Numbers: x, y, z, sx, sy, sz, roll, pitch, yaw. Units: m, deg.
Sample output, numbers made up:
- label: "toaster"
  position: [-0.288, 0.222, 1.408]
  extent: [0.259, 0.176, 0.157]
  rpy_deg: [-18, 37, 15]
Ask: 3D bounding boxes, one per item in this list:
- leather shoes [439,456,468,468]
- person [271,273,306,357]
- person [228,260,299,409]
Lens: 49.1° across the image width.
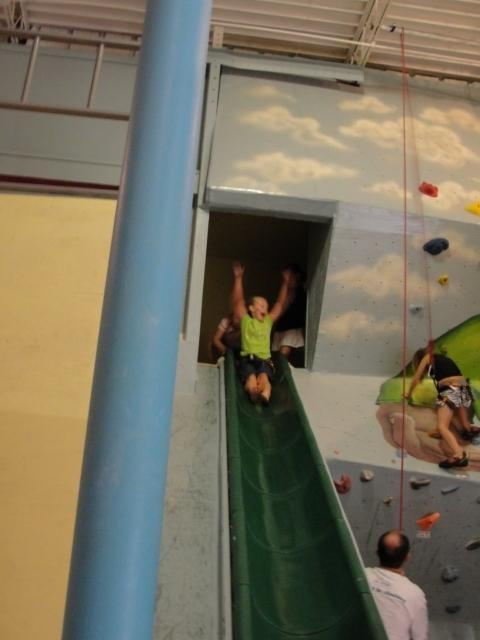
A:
- label: "leather shoes"
  position: [1.740, 1.168, 4.357]
  extent: [0.231, 0.124, 0.096]
  rpy_deg: [-2, 10, 9]
- label: "person"
  position: [0.541, -0.029, 5.789]
  extent: [0.189, 0.663, 0.791]
  rpy_deg: [19, 51, -14]
- label: "person"
  position: [0.144, 0.055, 4.917]
  extent: [0.535, 1.097, 1.891]
  rpy_deg: [7, 21, 4]
